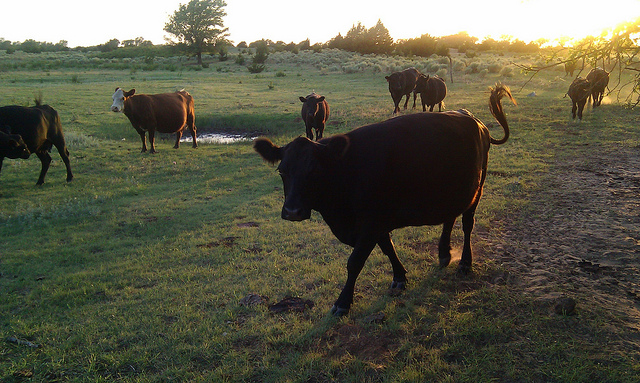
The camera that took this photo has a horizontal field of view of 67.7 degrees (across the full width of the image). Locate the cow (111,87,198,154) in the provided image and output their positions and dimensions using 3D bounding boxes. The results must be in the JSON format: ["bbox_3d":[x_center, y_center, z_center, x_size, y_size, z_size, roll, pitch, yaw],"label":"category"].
[{"bbox_3d":[-7.679,-3.271,22.066,1.703,2.805,4.663,8,12,32],"label":"cow"}]
